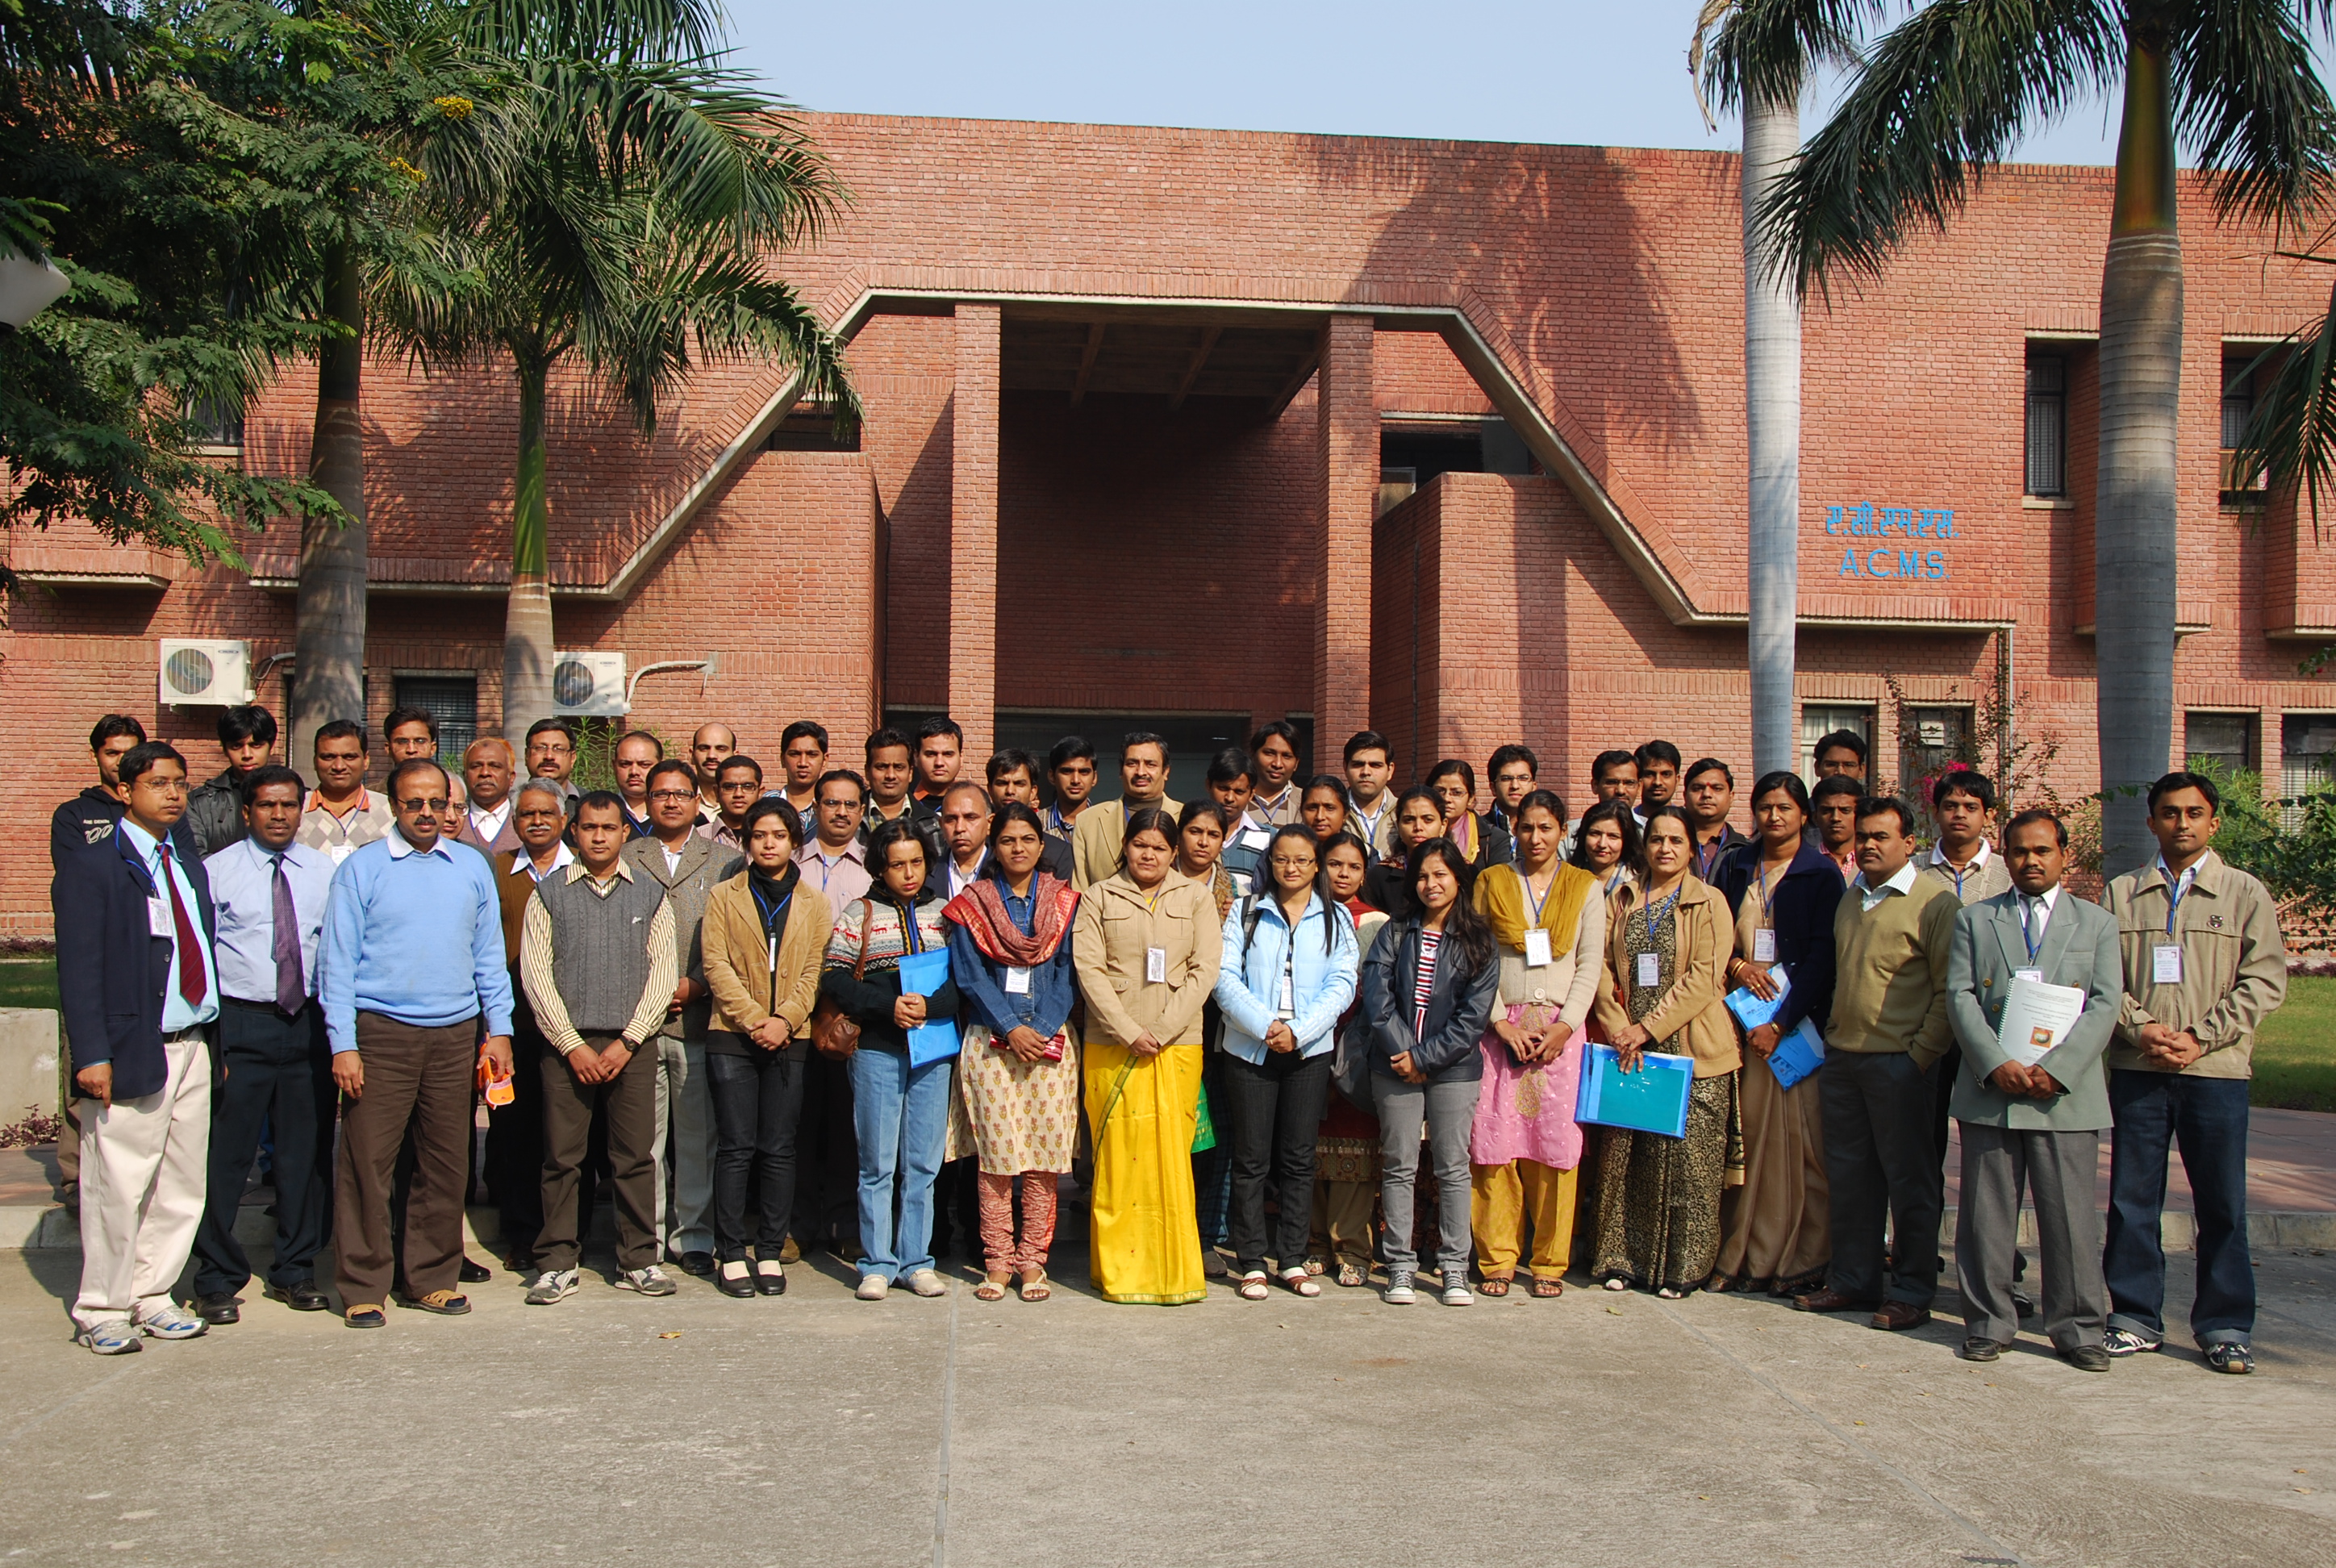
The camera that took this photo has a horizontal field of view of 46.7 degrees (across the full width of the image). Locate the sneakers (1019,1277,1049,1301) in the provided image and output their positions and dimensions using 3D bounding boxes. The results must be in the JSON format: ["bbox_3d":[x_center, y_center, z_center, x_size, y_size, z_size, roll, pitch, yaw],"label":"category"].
[{"bbox_3d":[-0.767,2.900,15.595,0.189,0.135,0.331,2,-3,-4],"label":"sneakers"}]

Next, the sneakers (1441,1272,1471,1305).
[{"bbox_3d":[1.663,2.918,15.612,0.198,0.146,0.261,2,-3,4],"label":"sneakers"}]

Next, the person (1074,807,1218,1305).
[{"bbox_3d":[-0.154,1.559,15.719,0.866,2.843,0.437,2,-3,0],"label":"person"}]

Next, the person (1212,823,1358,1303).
[{"bbox_3d":[0.676,1.610,15.867,0.833,2.724,0.456,2,-3,1],"label":"person"}]

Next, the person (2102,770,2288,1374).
[{"bbox_3d":[5.639,1.550,14.910,0.879,3.239,0.658,1,-3,17],"label":"person"}]

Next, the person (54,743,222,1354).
[{"bbox_3d":[-5.595,1.407,14.687,0.881,3.268,0.551,4,-3,-32],"label":"person"}]

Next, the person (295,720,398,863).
[{"bbox_3d":[-5.099,0.040,16.674,1.002,0.932,0.559,-1,5,-25],"label":"person"}]

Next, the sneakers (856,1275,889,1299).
[{"bbox_3d":[-1.689,2.882,15.496,0.202,0.129,0.231,2,-3,-12],"label":"sneakers"}]

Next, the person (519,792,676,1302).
[{"bbox_3d":[-3.277,1.502,15.588,0.893,2.905,0.375,3,-3,-20],"label":"person"}]

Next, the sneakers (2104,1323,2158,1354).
[{"bbox_3d":[5.250,3.026,14.753,0.371,0.162,0.132,9,-7,-7],"label":"sneakers"}]

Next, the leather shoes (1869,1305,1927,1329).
[{"bbox_3d":[4.103,2.989,15.192,0.316,0.128,0.114,7,-9,-27],"label":"leather shoes"}]

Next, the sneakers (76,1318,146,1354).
[{"bbox_3d":[-5.677,2.962,14.440,0.309,0.118,0.141,-6,-6,32],"label":"sneakers"}]

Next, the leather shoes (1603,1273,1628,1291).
[{"bbox_3d":[2.601,2.921,15.828,0.150,0.082,0.123,1,-3,14],"label":"leather shoes"}]

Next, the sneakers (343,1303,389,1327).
[{"bbox_3d":[-4.413,2.928,14.873,0.230,0.113,0.188,3,-3,-18],"label":"sneakers"}]

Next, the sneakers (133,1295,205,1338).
[{"bbox_3d":[-5.442,2.891,14.684,0.361,0.159,0.166,3,2,21],"label":"sneakers"}]

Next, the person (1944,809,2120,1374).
[{"bbox_3d":[4.746,1.642,14.857,0.922,3.026,0.520,1,-3,15],"label":"person"}]

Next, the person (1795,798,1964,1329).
[{"bbox_3d":[4.062,1.566,15.416,0.791,2.991,0.424,1,-3,21],"label":"person"}]

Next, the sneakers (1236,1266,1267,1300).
[{"bbox_3d":[0.480,2.895,15.701,0.200,0.162,0.320,2,-3,1],"label":"sneakers"}]

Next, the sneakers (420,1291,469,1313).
[{"bbox_3d":[-4.075,2.898,15.168,0.302,0.123,0.203,2,-3,-13],"label":"sneakers"}]

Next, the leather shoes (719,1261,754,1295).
[{"bbox_3d":[-2.486,2.839,15.594,0.202,0.184,0.293,2,-3,-9],"label":"leather shoes"}]

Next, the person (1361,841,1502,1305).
[{"bbox_3d":[1.485,1.659,15.788,0.776,2.673,0.449,2,-3,4],"label":"person"}]

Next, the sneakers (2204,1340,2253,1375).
[{"bbox_3d":[5.707,3.078,14.560,0.278,0.163,0.238,1,-3,20],"label":"sneakers"}]

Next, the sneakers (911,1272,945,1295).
[{"bbox_3d":[-1.397,2.870,15.650,0.203,0.142,0.309,2,-3,-6],"label":"sneakers"}]

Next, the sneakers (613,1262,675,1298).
[{"bbox_3d":[-3.042,2.878,15.619,0.375,0.143,0.146,-6,-8,32],"label":"sneakers"}]

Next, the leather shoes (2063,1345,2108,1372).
[{"bbox_3d":[4.939,3.095,14.598,0.095,0.087,0.217,-8,11,-43],"label":"leather shoes"}]

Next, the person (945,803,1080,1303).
[{"bbox_3d":[-0.922,1.554,15.760,0.806,2.824,0.495,2,-3,-4],"label":"person"}]

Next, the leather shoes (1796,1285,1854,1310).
[{"bbox_3d":[3.764,2.927,15.461,0.285,0.115,0.128,2,1,11],"label":"leather shoes"}]

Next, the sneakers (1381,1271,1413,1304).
[{"bbox_3d":[1.339,2.903,15.680,0.200,0.174,0.308,2,-3,4],"label":"sneakers"}]

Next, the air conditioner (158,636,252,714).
[{"bbox_3d":[-9.815,-1.138,27.524,1.101,0.898,0.382,0,-5,-6],"label":"air conditioner"}]

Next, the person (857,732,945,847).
[{"bbox_3d":[-1.735,-0.037,17.121,0.874,0.808,0.540,-1,-5,-5],"label":"person"}]

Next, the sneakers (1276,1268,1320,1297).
[{"bbox_3d":[0.760,2.894,15.760,0.171,0.142,0.325,3,-3,-29],"label":"sneakers"}]

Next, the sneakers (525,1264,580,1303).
[{"bbox_3d":[-3.518,2.852,15.423,0.304,0.190,0.356,2,-3,-12],"label":"sneakers"}]

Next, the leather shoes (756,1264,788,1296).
[{"bbox_3d":[-2.304,2.851,15.658,0.162,0.166,0.254,2,-3,-9],"label":"leather shoes"}]

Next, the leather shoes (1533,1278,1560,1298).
[{"bbox_3d":[2.226,2.932,15.744,0.197,0.088,0.129,3,-3,-22],"label":"leather shoes"}]

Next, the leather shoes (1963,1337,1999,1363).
[{"bbox_3d":[4.407,3.071,14.673,0.226,0.115,0.159,1,-3,9],"label":"leather shoes"}]

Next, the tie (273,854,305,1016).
[{"bbox_3d":[-4.971,0.868,15.262,0.178,0.835,0.155,4,-4,-38],"label":"tie"}]

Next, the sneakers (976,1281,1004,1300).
[{"bbox_3d":[-1.029,2.902,15.558,0.184,0.109,0.235,2,-3,-3],"label":"sneakers"}]
